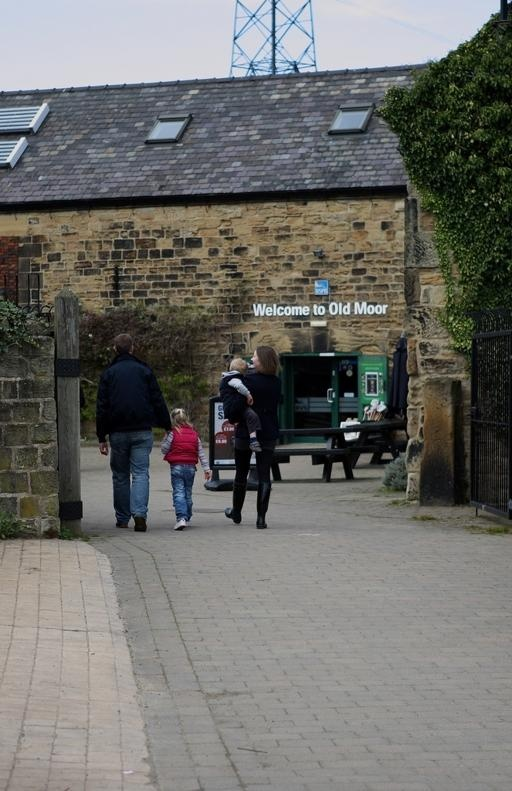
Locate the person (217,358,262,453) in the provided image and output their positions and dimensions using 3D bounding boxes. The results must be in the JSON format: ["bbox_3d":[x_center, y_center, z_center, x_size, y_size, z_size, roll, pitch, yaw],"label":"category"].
[{"bbox_3d":[-0.130,0.085,9.872,0.339,0.826,0.428,-1,1,-9],"label":"person"}]

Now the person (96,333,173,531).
[{"bbox_3d":[-1.071,0.303,9.892,0.644,1.729,0.870,-1,1,-8],"label":"person"}]

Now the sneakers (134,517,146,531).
[{"bbox_3d":[-0.978,1.078,9.502,0.056,0.069,0.163,0,-39,-1],"label":"sneakers"}]

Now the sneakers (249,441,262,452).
[{"bbox_3d":[-0.004,0.446,9.908,0.049,0.063,0.136,-1,-7,-13],"label":"sneakers"}]
